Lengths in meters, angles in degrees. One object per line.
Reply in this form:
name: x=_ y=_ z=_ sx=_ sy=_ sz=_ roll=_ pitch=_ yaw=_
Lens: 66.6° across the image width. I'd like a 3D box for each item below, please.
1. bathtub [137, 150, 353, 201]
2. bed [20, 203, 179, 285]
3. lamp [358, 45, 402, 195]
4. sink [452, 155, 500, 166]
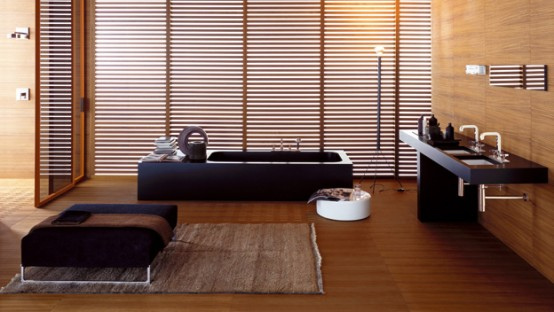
bathtub: x=-0.545 y=0.327 z=7.485 sx=3.624 sy=0.743 sz=0.965 roll=-1 pitch=12 yaw=0
bed: x=-2.066 y=1.011 z=5.008 sx=1.682 sy=0.756 sz=0.767 roll=-1 pitch=13 yaw=1
lamp: x=1.963 y=-0.762 z=7.974 sx=0.677 sy=2.596 sz=1.113 roll=3 pitch=15 yaw=22
sink: x=2.481 y=0.059 z=5.114 sx=0.325 sy=0.089 sz=0.536 roll=-10 pitch=14 yaw=-36
